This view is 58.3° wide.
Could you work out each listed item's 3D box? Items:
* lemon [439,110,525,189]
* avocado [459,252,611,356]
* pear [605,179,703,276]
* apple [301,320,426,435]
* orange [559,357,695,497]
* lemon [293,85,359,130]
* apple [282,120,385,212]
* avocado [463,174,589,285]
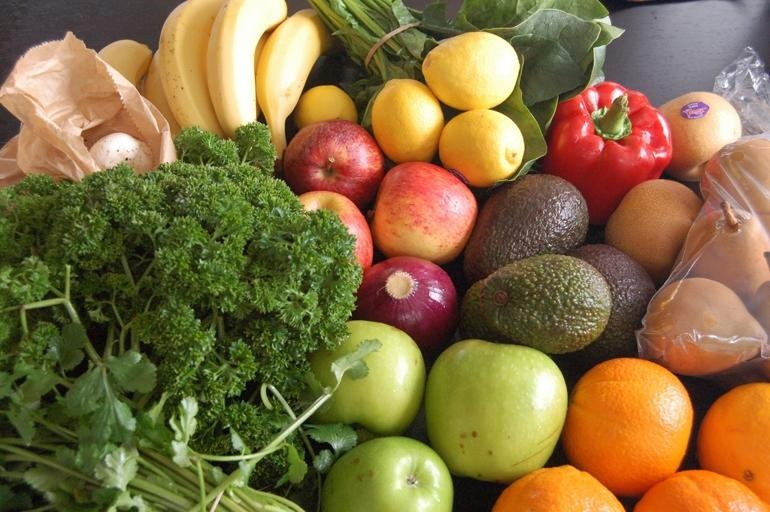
[{"bbox_3d":[0.232,-0.258,1.629,0.192,0.157,0.154,36,56,-19],"label":"lemon"},{"bbox_3d":[0.322,0.095,1.528,0.284,0.183,0.191,-6,92,-11],"label":"avocado"},{"bbox_3d":[0.639,-0.059,1.629,0.157,0.142,0.139,11,53,-33],"label":"pear"},{"bbox_3d":[-0.034,0.256,1.484,0.246,0.123,0.213,7,63,4],"label":"apple"},{"bbox_3d":[0.517,0.353,1.550,0.266,0.286,0.274,-5,92,14],"label":"orange"},{"bbox_3d":[-0.151,-0.392,1.882,0.124,0.119,0.175,-28,38,-33],"label":"lemon"},{"bbox_3d":[-0.128,-0.245,1.724,0.226,0.206,0.144,-22,30,-35],"label":"apple"},{"bbox_3d":[0.312,-0.083,1.650,0.260,0.257,0.290,-3,23,3],"label":"avocado"}]
